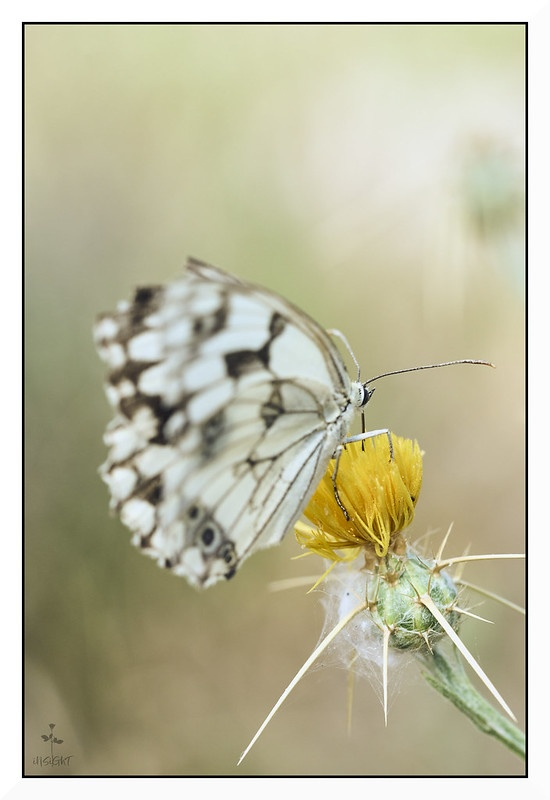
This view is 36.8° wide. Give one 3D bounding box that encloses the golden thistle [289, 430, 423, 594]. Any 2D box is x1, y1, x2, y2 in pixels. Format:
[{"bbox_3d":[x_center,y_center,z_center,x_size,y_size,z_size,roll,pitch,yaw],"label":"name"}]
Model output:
[{"bbox_3d":[0.315,0.383,2.997,0.397,0.350,0.535,24,-49,-19],"label":"golden thistle"}]
